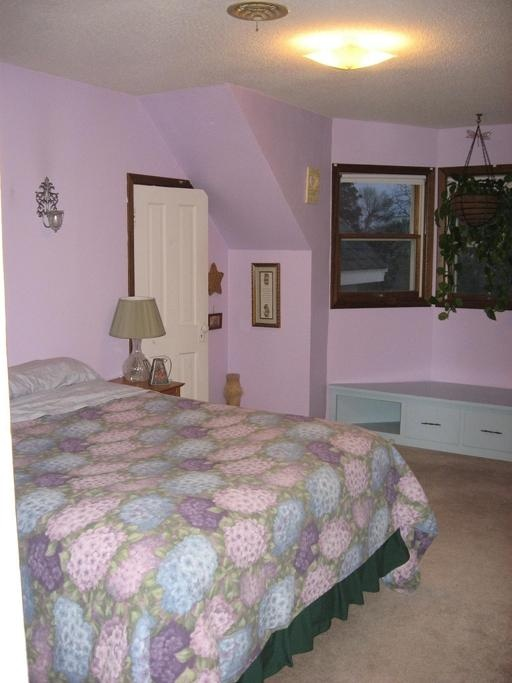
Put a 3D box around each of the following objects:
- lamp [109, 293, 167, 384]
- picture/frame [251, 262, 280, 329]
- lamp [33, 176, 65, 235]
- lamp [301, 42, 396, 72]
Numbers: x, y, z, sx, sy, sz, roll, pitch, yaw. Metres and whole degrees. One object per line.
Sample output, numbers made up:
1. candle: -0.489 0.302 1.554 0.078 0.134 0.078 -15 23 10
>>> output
1. lamp: -0.813 -0.008 3.616 0.364 0.565 0.373 6 9 23
2. picture/frame: 0.077 -0.415 4.671 0.309 0.564 0.054 0 0 -32
3. lamp: -1.272 -0.857 3.278 0.073 0.327 0.180 4 9 20
4. lamp: 0.488 -1.503 2.770 0.470 0.074 0.152 2 9 0
